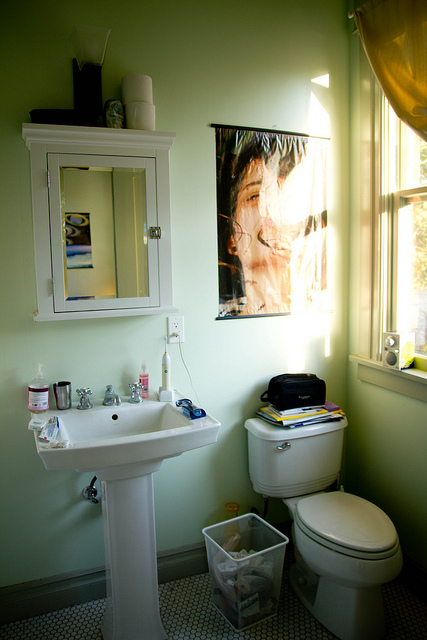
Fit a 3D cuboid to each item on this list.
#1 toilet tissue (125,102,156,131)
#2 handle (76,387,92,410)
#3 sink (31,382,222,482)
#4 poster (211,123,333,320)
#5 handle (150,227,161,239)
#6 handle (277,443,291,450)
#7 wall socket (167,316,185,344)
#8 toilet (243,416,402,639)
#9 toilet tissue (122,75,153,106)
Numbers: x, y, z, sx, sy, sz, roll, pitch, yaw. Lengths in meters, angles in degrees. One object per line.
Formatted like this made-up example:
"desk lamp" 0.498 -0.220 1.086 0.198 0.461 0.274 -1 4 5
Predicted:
"toilet tissue" -0.261 -0.715 1.772 0.091 0.077 0.100 1 10 -8
"handle" -0.460 0.280 1.794 0.065 0.079 0.061 1 -1 0
"sink" -0.316 0.362 1.685 0.505 0.201 0.386 -4 10 -24
"poster" 0.228 -0.442 2.154 0.762 0.985 0.069 -6 11 -23
"handle" -0.216 -0.320 1.837 0.042 0.044 0.010 2 2 -9
"handle" 0.282 0.506 2.014 0.043 0.017 0.026 0 -3 -10
"wall socket" -0.155 0.037 2.002 0.095 0.141 0.014 -6 11 -32
"toilet" 0.402 0.766 1.989 0.451 0.780 0.788 -4 4 -21
"toilet tissue" -0.266 -0.802 1.778 0.096 0.107 0.104 2 16 3
